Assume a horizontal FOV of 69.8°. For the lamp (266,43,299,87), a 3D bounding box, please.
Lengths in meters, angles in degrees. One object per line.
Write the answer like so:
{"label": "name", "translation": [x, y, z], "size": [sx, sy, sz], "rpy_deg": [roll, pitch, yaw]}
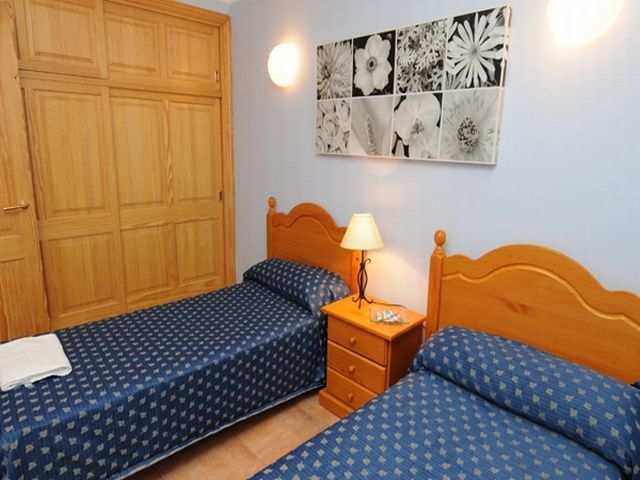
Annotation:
{"label": "lamp", "translation": [-0.282, -1.400, 3.665], "size": [0.295, 0.330, 0.072], "rpy_deg": [4, 9, 27]}

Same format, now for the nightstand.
{"label": "nightstand", "translation": [0.348, 0.820, 3.126], "size": [0.621, 0.733, 0.507], "rpy_deg": [12, 19, 34]}
